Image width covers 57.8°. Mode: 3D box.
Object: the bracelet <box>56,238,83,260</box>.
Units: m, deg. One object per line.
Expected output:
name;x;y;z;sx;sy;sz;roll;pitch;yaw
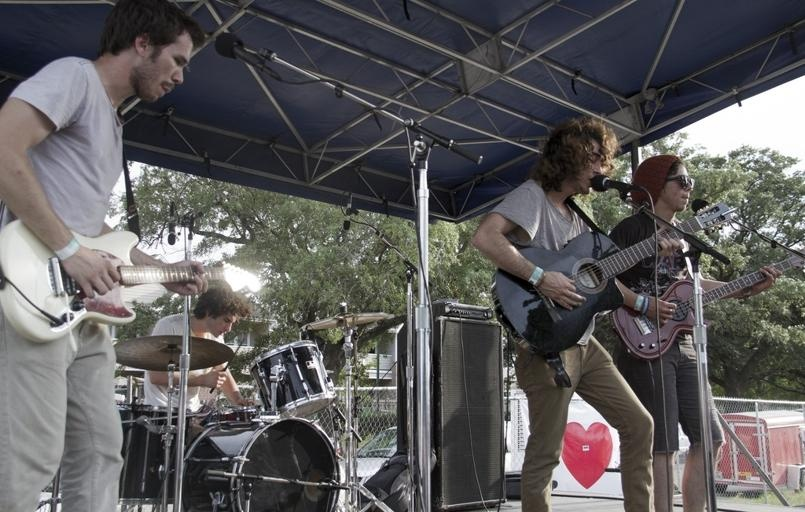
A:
bracelet;-2.039;-0.049;4.466;0.125;0.138;0.085;-21;-56;31

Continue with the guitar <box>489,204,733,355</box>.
guitar;1.789;0.031;5.938;2.200;0.875;0.238;-24;-35;-20

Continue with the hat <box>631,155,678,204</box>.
hat;2.246;-0.687;6.385;0.445;0.465;0.378;-3;-14;36

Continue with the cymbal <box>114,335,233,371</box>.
cymbal;-2.068;0.856;6.451;0.558;0.127;0.584;-26;-42;26

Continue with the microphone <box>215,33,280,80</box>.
microphone;-1.132;-1.484;5.391;0.194;0.643;0.200;-27;-39;-46

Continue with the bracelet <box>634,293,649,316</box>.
bracelet;1.948;0.387;5.954;0.067;0.156;0.123;13;17;0

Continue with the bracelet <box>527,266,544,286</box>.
bracelet;1.000;0.138;5.554;0.049;0.104;0.142;27;-19;1

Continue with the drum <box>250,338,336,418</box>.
drum;-1.031;1.190;7.013;0.808;0.750;0.536;8;-23;-26

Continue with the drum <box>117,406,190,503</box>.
drum;-2.286;1.746;6.704;0.639;0.868;0.807;0;-6;4

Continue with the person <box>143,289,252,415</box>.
person;-1.932;0.880;7.103;0.822;1.442;1.372;1;4;10
